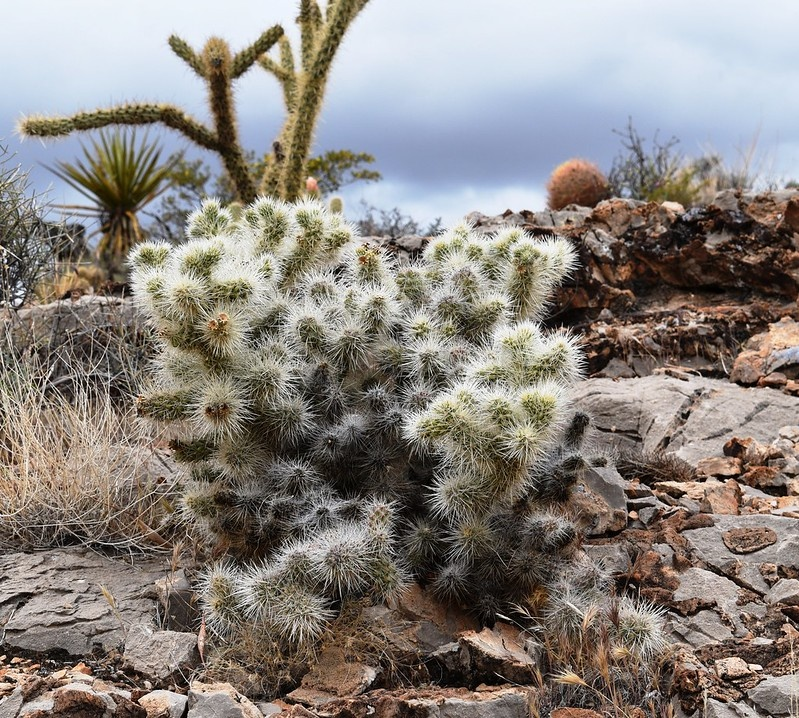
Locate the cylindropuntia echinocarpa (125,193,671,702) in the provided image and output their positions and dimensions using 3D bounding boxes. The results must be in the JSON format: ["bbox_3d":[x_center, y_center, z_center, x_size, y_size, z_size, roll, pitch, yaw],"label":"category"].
[{"bbox_3d":[-0.156,0.352,6.161,2.702,2.371,2.020,6,10,11],"label":"cylindropuntia echinocarpa"}]
